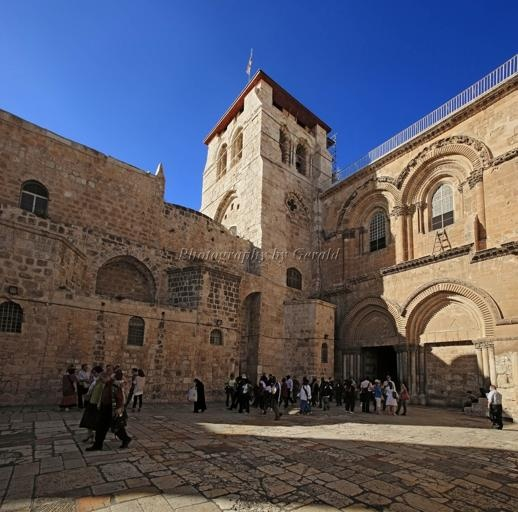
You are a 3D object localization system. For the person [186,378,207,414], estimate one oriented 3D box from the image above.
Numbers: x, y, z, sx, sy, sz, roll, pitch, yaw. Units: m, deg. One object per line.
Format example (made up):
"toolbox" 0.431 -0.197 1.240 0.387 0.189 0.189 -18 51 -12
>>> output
"person" -1.974 4.495 12.426 0.529 1.033 0.824 4 -17 -9

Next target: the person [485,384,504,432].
"person" 6.858 4.385 11.176 0.355 1.202 0.570 -8 -19 30

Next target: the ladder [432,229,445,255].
"ladder" 8.353 -0.732 17.855 0.215 1.097 0.729 12 -20 -35

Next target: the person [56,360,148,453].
"person" -2.822 3.175 7.443 1.284 2.354 1.138 23 -47 -32
